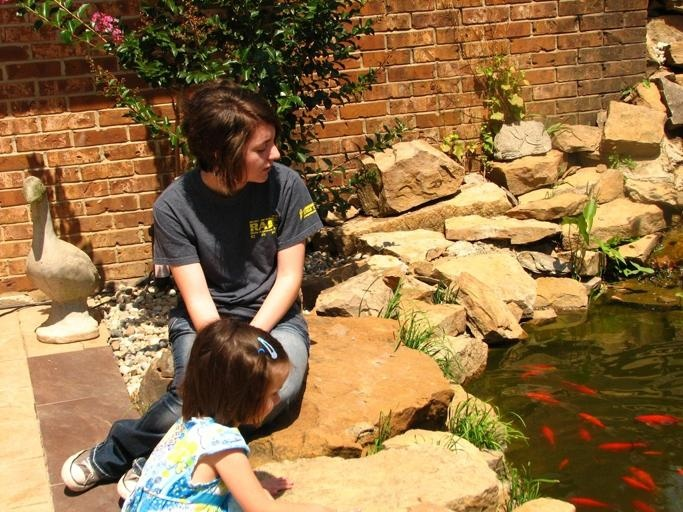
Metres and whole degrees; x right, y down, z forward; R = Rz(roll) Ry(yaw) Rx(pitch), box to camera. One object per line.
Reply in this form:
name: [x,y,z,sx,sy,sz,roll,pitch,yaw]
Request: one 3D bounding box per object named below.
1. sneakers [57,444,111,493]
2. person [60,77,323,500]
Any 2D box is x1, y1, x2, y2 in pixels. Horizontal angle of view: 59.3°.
sneakers: [-1.372,1.118,3.126,0.245,0.161,0.138,-10,8,-5]
person: [-0.690,0.135,3.061,0.976,1.908,1.581,9,19,28]
